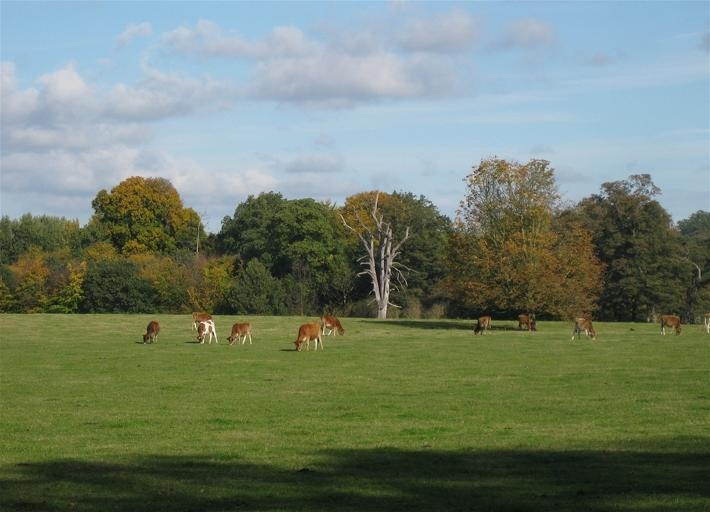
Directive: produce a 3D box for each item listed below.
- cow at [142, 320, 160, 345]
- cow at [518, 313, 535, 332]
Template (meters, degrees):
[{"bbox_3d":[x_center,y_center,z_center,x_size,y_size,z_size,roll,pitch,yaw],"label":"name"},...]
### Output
[{"bbox_3d":[-13.342,4.843,102.283,0.978,1.637,2.940,0,14,-3],"label":"cow"},{"bbox_3d":[12.818,4.699,113.835,1.202,1.249,1.773,2,14,5],"label":"cow"}]
